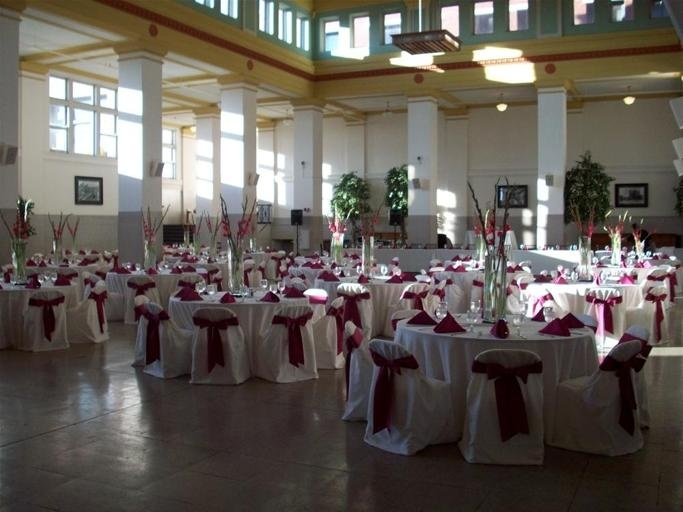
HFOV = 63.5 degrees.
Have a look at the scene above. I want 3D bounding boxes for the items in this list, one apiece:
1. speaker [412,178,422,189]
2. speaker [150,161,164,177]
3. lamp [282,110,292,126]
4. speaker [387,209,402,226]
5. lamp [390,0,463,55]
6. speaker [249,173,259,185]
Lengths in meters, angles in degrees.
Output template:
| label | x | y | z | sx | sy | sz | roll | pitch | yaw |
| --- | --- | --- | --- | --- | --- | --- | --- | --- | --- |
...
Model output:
| label | x | y | z | sx | sy | sz | roll | pitch | yaw |
| --- | --- | --- | --- | --- | --- | --- | --- | --- | --- |
| speaker | 2.241 | -2.139 | 16.426 | 0.259 | 0.288 | 0.479 | 3 | 2 | 17 |
| speaker | -4.238 | -1.980 | 12.721 | 0.295 | 0.452 | 0.300 | 1 | 1 | 18 |
| lamp | -2.006 | -5.260 | 21.174 | 0.447 | 0.779 | 0.490 | 2 | 6 | 0 |
| speaker | 1.907 | -1.365 | 19.250 | 0.506 | 0.816 | 0.435 | 3 | 9 | 16 |
| lamp | 1.826 | -4.491 | 11.614 | 1.261 | 0.362 | 1.053 | 4 | 9 | 34 |
| speaker | -2.466 | -2.166 | 15.719 | 0.259 | 0.363 | 0.309 | 3 | 11 | 5 |
